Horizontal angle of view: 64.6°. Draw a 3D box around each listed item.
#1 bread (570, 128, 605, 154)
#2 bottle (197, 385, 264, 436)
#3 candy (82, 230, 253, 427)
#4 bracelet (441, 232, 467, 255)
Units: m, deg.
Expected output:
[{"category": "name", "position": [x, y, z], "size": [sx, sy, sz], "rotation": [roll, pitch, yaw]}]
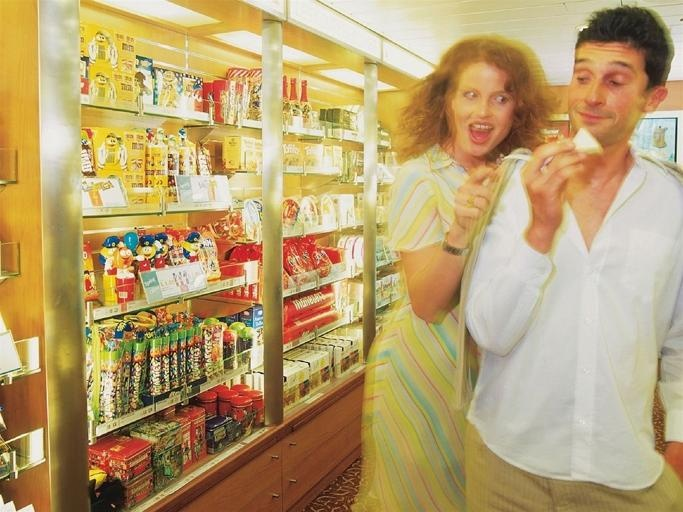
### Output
[{"category": "bread", "position": [0.430, -0.192, 0.941], "size": [0.047, 0.048, 0.015], "rotation": [9, -4, -13]}, {"category": "bottle", "position": [-0.448, 0.611, 2.220], "size": [0.199, 0.123, 0.201], "rotation": [1, -3, 0]}, {"category": "candy", "position": [-0.688, 0.245, 2.073], "size": [0.349, 0.721, 0.913], "rotation": [4, 12, 28]}, {"category": "bracelet", "position": [0.211, -0.021, 1.028], "size": [0.018, 0.038, 0.052], "rotation": [-10, 14, -39]}]
